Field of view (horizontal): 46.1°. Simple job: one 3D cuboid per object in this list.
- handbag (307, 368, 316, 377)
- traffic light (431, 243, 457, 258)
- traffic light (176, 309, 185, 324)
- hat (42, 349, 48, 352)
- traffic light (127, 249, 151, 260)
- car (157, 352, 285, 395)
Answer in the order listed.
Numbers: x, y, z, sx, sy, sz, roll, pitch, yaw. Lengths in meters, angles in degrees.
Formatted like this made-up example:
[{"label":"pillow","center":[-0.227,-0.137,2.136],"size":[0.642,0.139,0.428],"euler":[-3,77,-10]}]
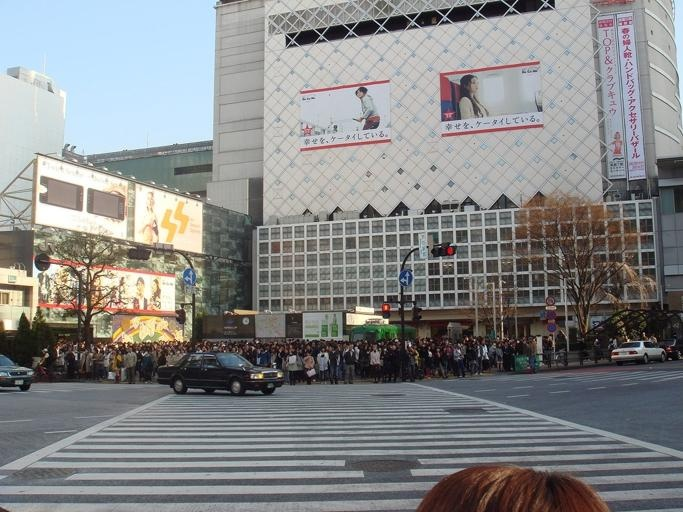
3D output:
[{"label":"handbag","center":[-1.533,5.905,41.037],"size":[0.455,0.487,0.266],"euler":[-13,-17,-6]},{"label":"traffic light","center":[5.395,-0.314,40.894],"size":[1.242,0.717,1.300],"euler":[-4,-3,35]},{"label":"traffic light","center":[-8.240,3.015,41.305],"size":[0.373,0.789,0.922],"euler":[1,-11,-18]},{"label":"hat","center":[-18.309,5.837,49.663],"size":[0.281,0.293,0.283],"euler":[3,-6,-28]},{"label":"traffic light","center":[-11.061,-0.158,43.693],"size":[1.034,0.709,0.988],"euler":[3,-3,-30]},{"label":"car","center":[-5.095,4.850,33.243],"size":[4.809,1.878,0.986],"euler":[-7,-11,19]}]
